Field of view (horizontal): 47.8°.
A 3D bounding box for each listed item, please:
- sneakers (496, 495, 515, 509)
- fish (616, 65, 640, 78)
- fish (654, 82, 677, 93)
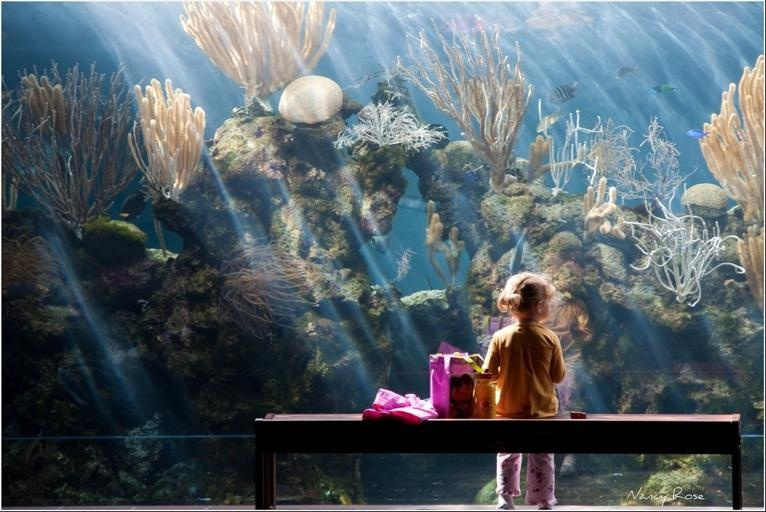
[{"bbox_3d":[1.241,2.518,8.872,0.148,0.156,0.157,-2,5,-14],"label":"sneakers"},{"bbox_3d":[3.418,-2.620,12.244,0.270,0.147,0.092,-4,3,14],"label":"fish"},{"bbox_3d":[3.862,-2.361,11.981,0.285,0.171,0.491,-3,3,20],"label":"fish"}]
